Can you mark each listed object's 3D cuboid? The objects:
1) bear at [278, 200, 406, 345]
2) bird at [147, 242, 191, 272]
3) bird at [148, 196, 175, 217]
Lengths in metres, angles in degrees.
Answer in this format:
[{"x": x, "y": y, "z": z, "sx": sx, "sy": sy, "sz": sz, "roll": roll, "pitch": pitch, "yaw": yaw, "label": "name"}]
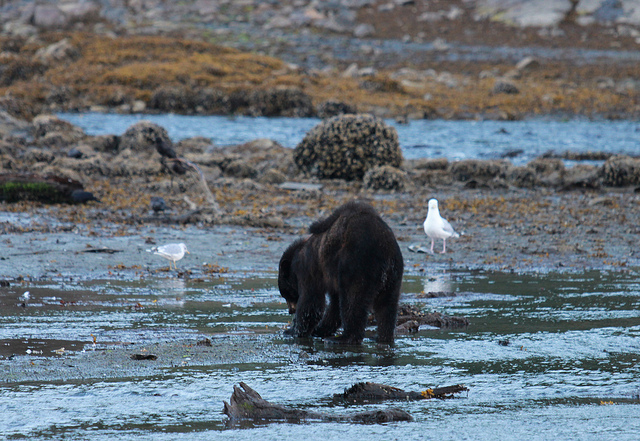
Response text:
[{"x": 0.683, "y": 1.434, "z": 48.877, "sx": 3.436, "sy": 3.873, "sz": 1.516, "roll": 1, "pitch": 15, "yaw": 9, "label": "bear"}, {"x": -4.682, "y": 0.917, "z": 53.776, "sx": 1.544, "sy": 0.918, "sz": 0.630, "roll": 4, "pitch": -11, "yaw": -21, "label": "bird"}, {"x": -5.604, "y": -0.589, "z": 58.493, "sx": 0.726, "sy": 0.401, "sz": 1.199, "roll": -3, "pitch": 13, "yaw": -5, "label": "bird"}]
